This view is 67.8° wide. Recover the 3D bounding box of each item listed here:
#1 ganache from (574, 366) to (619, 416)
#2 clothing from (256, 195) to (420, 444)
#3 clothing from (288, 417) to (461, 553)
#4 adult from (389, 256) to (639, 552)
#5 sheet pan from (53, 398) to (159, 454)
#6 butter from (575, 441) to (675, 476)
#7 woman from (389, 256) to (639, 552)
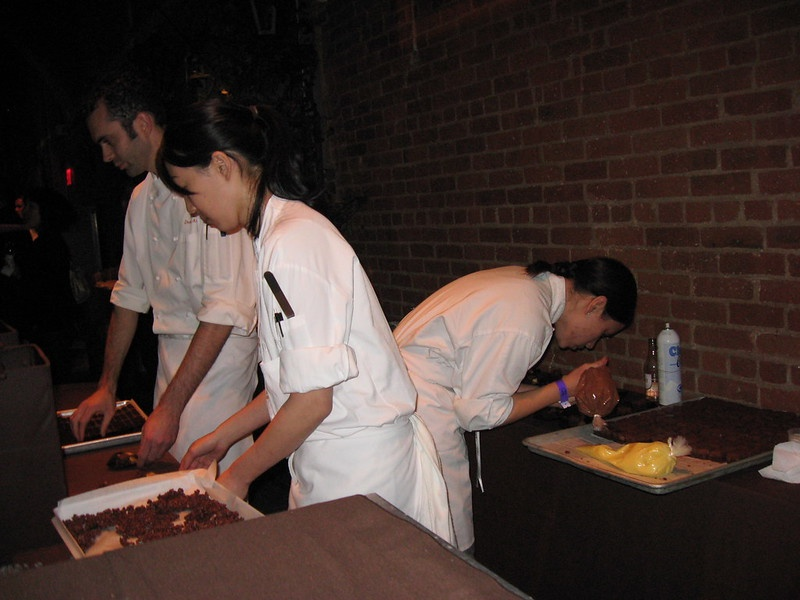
[{"bbox_3d":[0.682,0.321,2.105,0.115,0.135,0.165,6,15,-6],"label":"ganache"},{"bbox_3d":[-0.152,0.036,1.295,0.358,0.362,0.226,-2,1,0],"label":"clothing"},{"bbox_3d":[-0.097,0.332,1.562,0.317,0.529,0.415,0,1,-17],"label":"clothing"},{"bbox_3d":[0.312,0.466,2.115,0.884,1.280,0.522,2,22,-1],"label":"adult"},{"bbox_3d":[-1.017,0.427,2.030,0.254,0.148,0.414,-3,1,-31],"label":"sheet pan"},{"bbox_3d":[0.684,0.471,1.790,0.205,0.082,0.067,9,-19,43],"label":"butter"},{"bbox_3d":[0.316,0.474,2.114,0.903,1.297,0.541,1,23,-4],"label":"woman"}]
